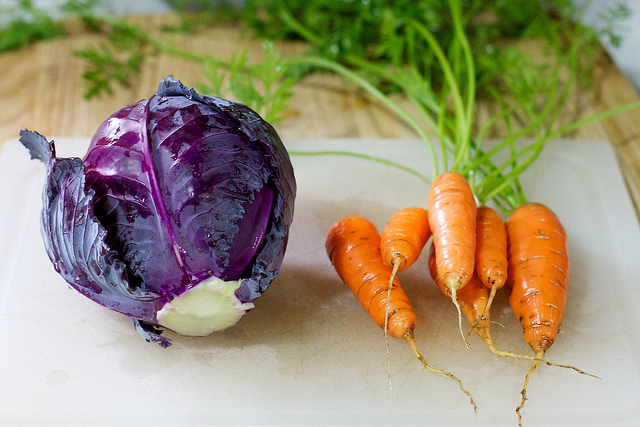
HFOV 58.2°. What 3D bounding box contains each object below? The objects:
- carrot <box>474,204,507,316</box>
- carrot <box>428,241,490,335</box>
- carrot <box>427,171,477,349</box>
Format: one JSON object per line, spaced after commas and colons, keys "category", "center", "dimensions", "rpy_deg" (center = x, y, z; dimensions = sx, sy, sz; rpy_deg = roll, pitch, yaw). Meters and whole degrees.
{"category": "carrot", "center": [0.690, 0.188, 2.419], "dimensions": [0.120, 0.125, 0.476], "rpy_deg": [7, 48, 1]}
{"category": "carrot", "center": [0.567, 0.268, 2.417], "dimensions": [0.151, 0.160, 0.444], "rpy_deg": [-1, 50, -12]}
{"category": "carrot", "center": [0.549, 0.065, 2.434], "dimensions": [0.165, 0.180, 0.746], "rpy_deg": [-5, 61, 12]}
